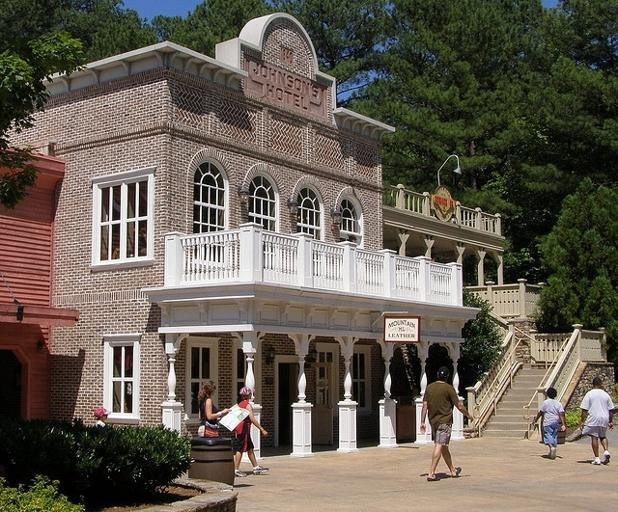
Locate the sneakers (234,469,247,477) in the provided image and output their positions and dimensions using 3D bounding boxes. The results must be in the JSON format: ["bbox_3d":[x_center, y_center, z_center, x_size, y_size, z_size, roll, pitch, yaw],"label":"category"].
[{"bbox_3d":[-1.586,4.883,25.472,0.284,0.142,0.105,-4,-9,32],"label":"sneakers"}]

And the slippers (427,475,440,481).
[{"bbox_3d":[2.665,4.801,24.573,0.115,0.139,0.331,0,1,34],"label":"slippers"}]

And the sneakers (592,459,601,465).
[{"bbox_3d":[6.872,4.921,27.165,0.201,0.165,0.349,-4,-12,14],"label":"sneakers"}]

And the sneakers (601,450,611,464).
[{"bbox_3d":[7.141,4.893,27.285,0.180,0.226,0.525,-1,-32,8],"label":"sneakers"}]

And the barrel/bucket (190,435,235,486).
[{"bbox_3d":[-2.001,4.222,23.388,0.866,0.926,0.922,0,-14,0],"label":"barrel/bucket"}]

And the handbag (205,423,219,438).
[{"bbox_3d":[-2.073,3.700,24.091,0.265,0.210,0.263,9,-16,-39],"label":"handbag"}]

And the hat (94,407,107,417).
[{"bbox_3d":[-5.090,3.799,27.528,0.373,0.269,0.489,2,-8,-5],"label":"hat"}]

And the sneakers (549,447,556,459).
[{"bbox_3d":[6.124,4.971,28.445,0.122,0.398,0.175,-2,27,2],"label":"sneakers"}]

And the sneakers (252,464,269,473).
[{"bbox_3d":[-1.132,4.877,25.989,0.160,0.222,0.489,4,2,43],"label":"sneakers"}]
